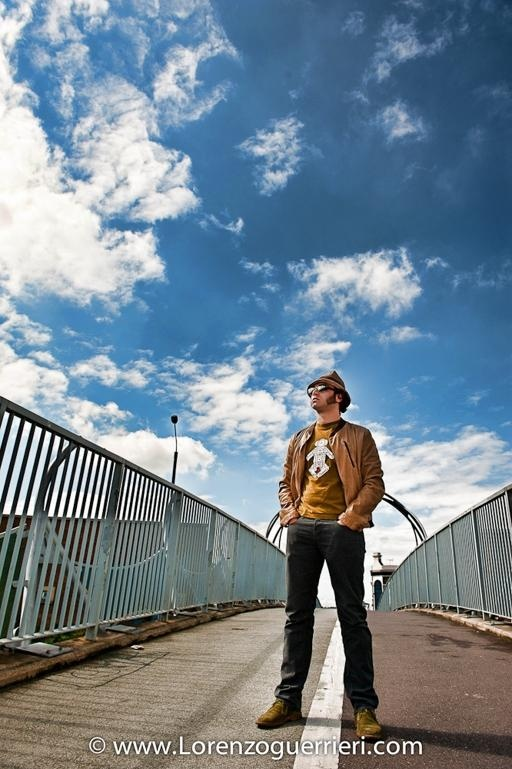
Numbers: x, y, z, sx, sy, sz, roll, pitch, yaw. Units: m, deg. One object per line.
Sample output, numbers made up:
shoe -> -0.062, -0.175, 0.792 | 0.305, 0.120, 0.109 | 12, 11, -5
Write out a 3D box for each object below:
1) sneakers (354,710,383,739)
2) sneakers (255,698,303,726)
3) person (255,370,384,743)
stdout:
sneakers -> 0.474, 1.410, 1.933 | 0.106, 0.071, 0.159 | 0, -18, 10
sneakers -> 0.100, 1.495, 2.124 | 0.229, 0.108, 0.086 | 30, -53, -35
person -> 0.377, 0.717, 2.460 | 0.602, 1.794, 0.679 | -2, -18, 14
